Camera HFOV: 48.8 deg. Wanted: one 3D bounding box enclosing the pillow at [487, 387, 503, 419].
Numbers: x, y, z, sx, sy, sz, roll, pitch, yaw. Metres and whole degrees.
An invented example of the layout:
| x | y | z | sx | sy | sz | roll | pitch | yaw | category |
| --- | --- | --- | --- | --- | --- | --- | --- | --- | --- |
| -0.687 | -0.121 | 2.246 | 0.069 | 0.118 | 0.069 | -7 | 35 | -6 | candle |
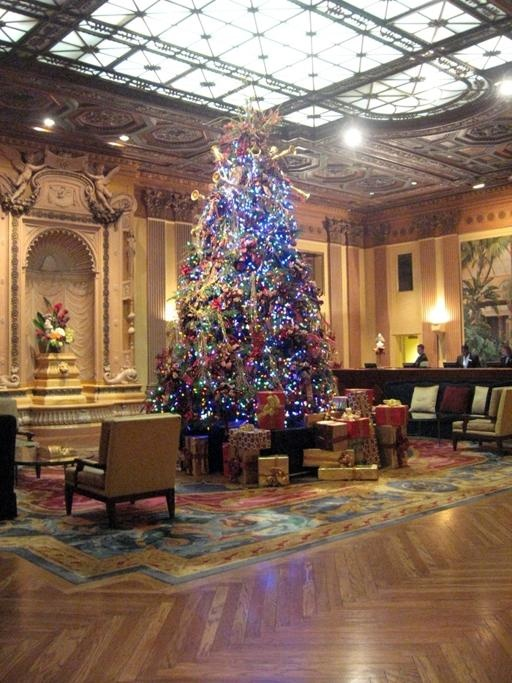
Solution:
| x | y | z | sx | sy | sz | roll | pitch | yaw | category |
| --- | --- | --- | --- | --- | --- | --- | --- | --- | --- |
| 3.103 | 0.801 | 7.442 | 0.119 | 0.347 | 0.395 | 10 | 7 | 27 | pillow |

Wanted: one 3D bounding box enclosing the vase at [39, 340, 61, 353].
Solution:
| x | y | z | sx | sy | sz | roll | pitch | yaw | category |
| --- | --- | --- | --- | --- | --- | --- | --- | --- | --- |
| -3.533 | 0.101 | 9.585 | 0.309 | 0.268 | 0.288 | 0 | -5 | 1 | vase |

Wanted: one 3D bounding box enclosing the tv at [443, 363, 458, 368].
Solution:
| x | y | z | sx | sy | sz | roll | pitch | yaw | category |
| --- | --- | --- | --- | --- | --- | --- | --- | --- | --- |
| 3.761 | 0.461 | 10.991 | 0.284 | 0.123 | 1.093 | -3 | -5 | 18 | tv |

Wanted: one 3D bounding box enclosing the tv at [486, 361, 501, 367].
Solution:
| x | y | z | sx | sy | sz | roll | pitch | yaw | category |
| --- | --- | --- | --- | --- | --- | --- | --- | --- | --- |
| 4.105 | 0.406 | 9.808 | 0.207 | 0.085 | 0.288 | -4 | -5 | 22 | tv |

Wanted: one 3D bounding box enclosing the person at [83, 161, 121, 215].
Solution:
| x | y | z | sx | sy | sz | roll | pitch | yaw | category |
| --- | --- | --- | --- | --- | --- | --- | --- | --- | --- |
| -2.791 | -2.779 | 10.171 | 0.287 | 0.992 | 0.652 | -4 | -6 | 24 | person |

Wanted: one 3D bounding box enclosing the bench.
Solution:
| x | y | z | sx | sy | sz | roll | pitch | yaw | category |
| --- | --- | --- | --- | --- | --- | --- | --- | --- | --- |
| 2.637 | 1.174 | 9.151 | 1.027 | 0.949 | 1.862 | -4 | 0 | -35 | bench |

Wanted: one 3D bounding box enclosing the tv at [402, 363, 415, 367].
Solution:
| x | y | z | sx | sy | sz | roll | pitch | yaw | category |
| --- | --- | --- | --- | --- | --- | --- | --- | --- | --- |
| 3.119 | 0.496 | 11.645 | 0.224 | 0.101 | 0.722 | -3 | -5 | 14 | tv |

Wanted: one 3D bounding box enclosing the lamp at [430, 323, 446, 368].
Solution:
| x | y | z | sx | sy | sz | roll | pitch | yaw | category |
| --- | --- | --- | --- | --- | --- | --- | --- | --- | --- |
| 4.658 | 0.085 | 14.530 | 0.231 | 1.114 | 0.317 | -1 | -6 | -15 | lamp |

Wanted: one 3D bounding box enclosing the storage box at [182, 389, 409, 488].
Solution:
| x | y | z | sx | sy | sz | roll | pitch | yaw | category |
| --- | --- | --- | --- | --- | --- | --- | --- | --- | --- |
| 0.609 | 1.042 | 6.557 | 1.815 | 0.509 | 1.234 | -1 | 0 | -31 | storage box |
